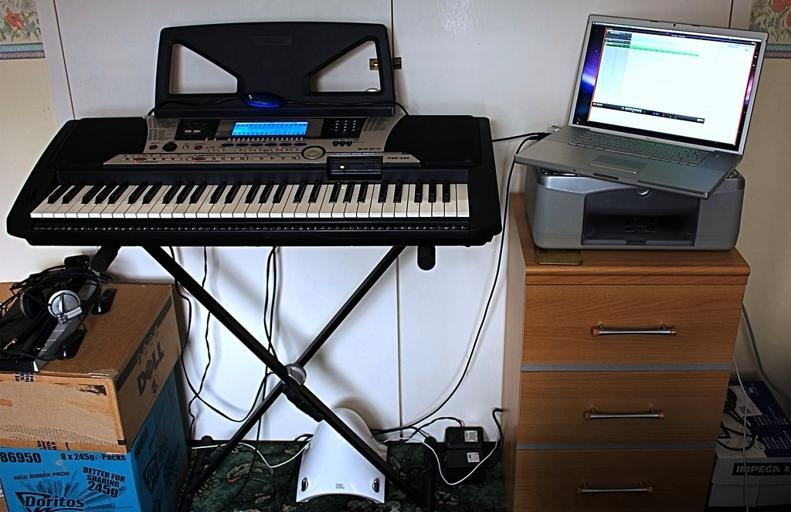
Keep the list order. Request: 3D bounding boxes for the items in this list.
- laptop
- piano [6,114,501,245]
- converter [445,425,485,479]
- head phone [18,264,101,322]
[{"bbox_3d":[0.814,-0.512,2.128,0.655,0.539,0.434,10,22,27],"label":"laptop"},{"bbox_3d":[-0.462,-0.259,2.210,1.610,0.353,0.421,1,20,2],"label":"piano"},{"bbox_3d":[0.284,0.849,2.762,0.152,0.059,0.197,-1,43,4],"label":"converter"},{"bbox_3d":[-1.238,0.120,2.310,0.303,0.105,0.213,0,30,27],"label":"head phone"}]
